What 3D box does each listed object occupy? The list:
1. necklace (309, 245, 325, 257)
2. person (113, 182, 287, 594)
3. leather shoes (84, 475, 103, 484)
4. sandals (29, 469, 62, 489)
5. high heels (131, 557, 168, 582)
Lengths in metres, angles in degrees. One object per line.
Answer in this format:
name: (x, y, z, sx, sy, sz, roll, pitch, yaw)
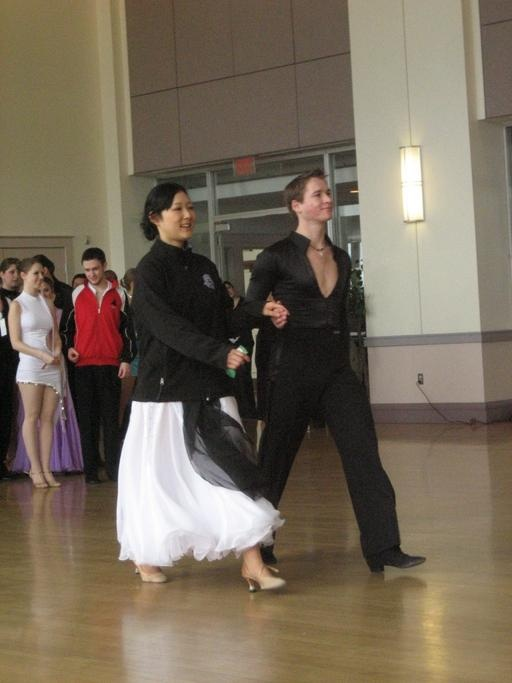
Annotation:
necklace: (0.244, -0.346, 2.402, 0.043, 0.037, 0.011, 0, 8, -34)
person: (-0.218, 0.207, 2.331, 0.723, 1.600, 0.562, -2, 7, 11)
leather shoes: (-1.371, 1.176, 5.235, 0.061, 0.118, 0.181, 8, -14, -40)
sandals: (-1.768, 1.153, 5.180, 0.226, 0.145, 0.385, -6, 6, -21)
high heels: (-0.449, 0.909, 2.480, 0.193, 0.071, 0.071, -5, -8, 42)
